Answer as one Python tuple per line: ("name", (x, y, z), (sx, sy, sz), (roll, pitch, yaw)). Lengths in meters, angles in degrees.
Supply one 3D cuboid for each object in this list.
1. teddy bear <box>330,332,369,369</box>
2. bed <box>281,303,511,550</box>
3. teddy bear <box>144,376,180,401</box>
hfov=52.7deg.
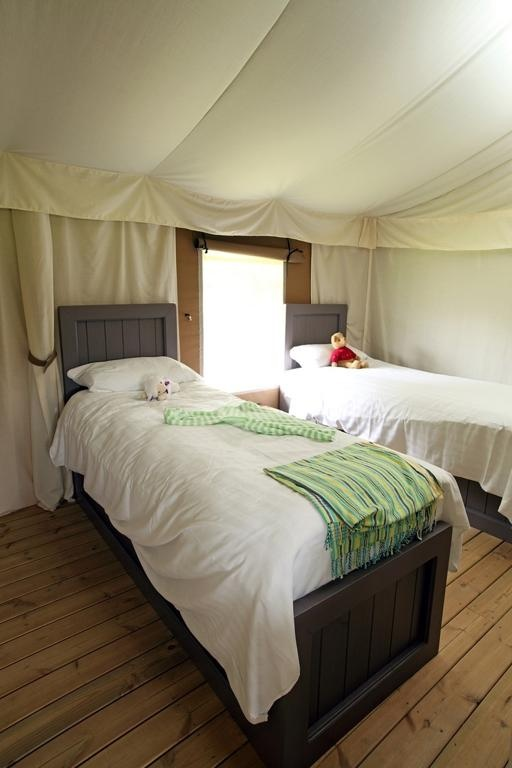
("teddy bear", (0.748, -0.240, 4.311), (0.269, 0.337, 0.319), (-7, 6, 38))
("bed", (0.818, 0.076, 3.545), (0.660, 1.389, 2.047), (-10, 20, -34))
("teddy bear", (-0.545, 0.021, 2.857), (0.141, 0.082, 0.140), (-6, 15, -41))
